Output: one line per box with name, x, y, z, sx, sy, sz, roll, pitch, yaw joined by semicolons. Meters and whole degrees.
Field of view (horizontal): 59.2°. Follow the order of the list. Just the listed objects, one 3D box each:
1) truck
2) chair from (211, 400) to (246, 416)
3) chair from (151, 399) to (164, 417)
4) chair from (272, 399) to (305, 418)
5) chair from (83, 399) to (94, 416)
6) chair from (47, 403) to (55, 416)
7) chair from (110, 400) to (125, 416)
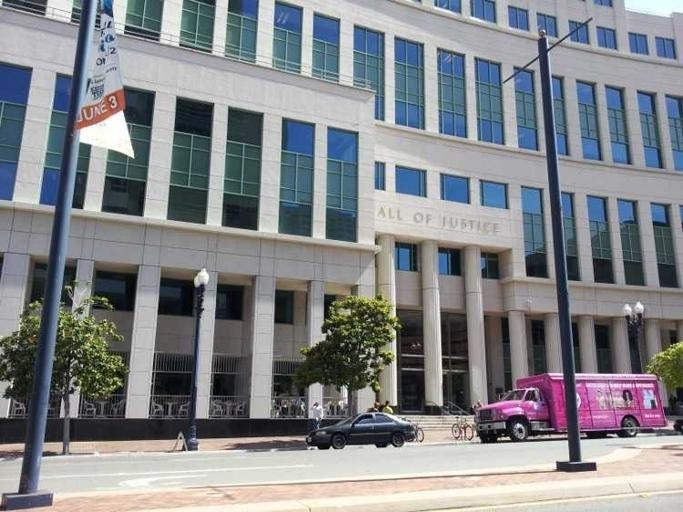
truck;11.897;7.689;30.659;9.988;3.358;2.083;4;-17;-18
chair;-6.379;8.689;33.956;1.941;0.821;0.561;3;-16;-15
chair;-10.033;8.363;32.696;0.748;0.992;0.710;-1;-7;10
chair;-3.160;8.958;35.296;1.391;0.886;1.231;5;-15;-14
chair;-13.045;7.907;31.068;0.594;0.822;0.688;2;-16;-9
chair;-14.558;7.873;30.315;0.413;0.623;0.307;4;-17;-18
chair;-11.736;8.084;31.723;0.748;0.933;0.722;15;-22;-36
